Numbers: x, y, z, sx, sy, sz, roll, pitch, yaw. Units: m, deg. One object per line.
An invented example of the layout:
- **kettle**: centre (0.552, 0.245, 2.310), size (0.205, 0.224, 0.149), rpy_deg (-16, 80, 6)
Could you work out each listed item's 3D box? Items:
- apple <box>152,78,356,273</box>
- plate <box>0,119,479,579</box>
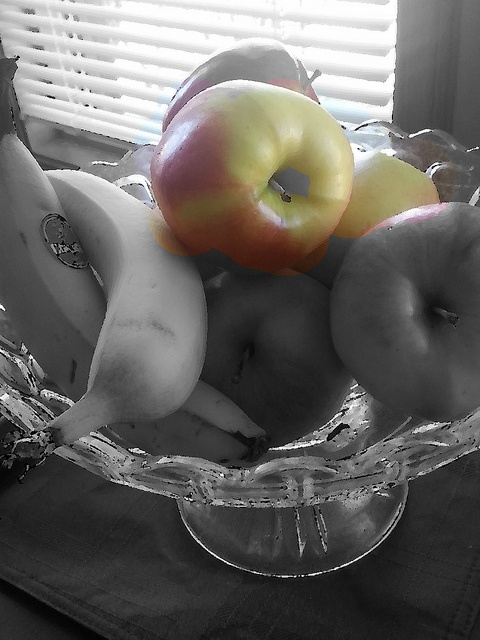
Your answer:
- **apple**: centre (0.010, -0.079, 0.319), size (0.114, 0.109, 0.058), rpy_deg (-5, 16, -11)
- **plate**: centre (-0.019, 0.006, 0.505), size (0.400, 0.226, 0.357), rpy_deg (-11, 56, 0)
